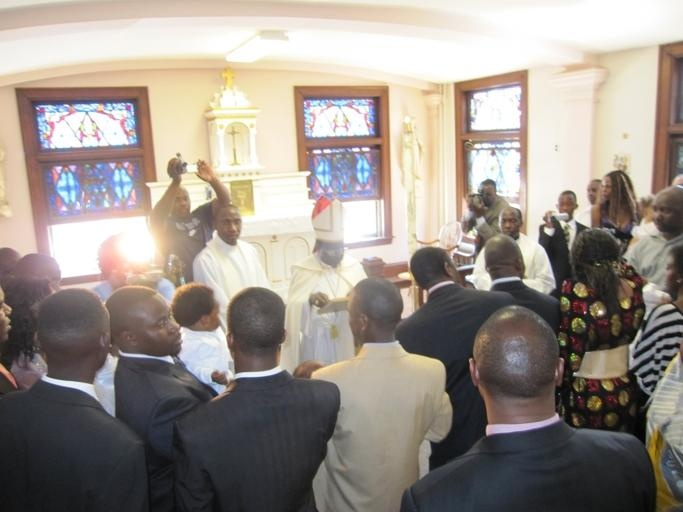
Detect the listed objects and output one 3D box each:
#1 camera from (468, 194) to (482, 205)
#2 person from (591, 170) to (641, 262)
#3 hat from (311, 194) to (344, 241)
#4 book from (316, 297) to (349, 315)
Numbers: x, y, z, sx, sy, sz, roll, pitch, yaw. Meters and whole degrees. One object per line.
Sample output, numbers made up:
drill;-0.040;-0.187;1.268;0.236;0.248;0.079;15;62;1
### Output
camera;1.373;-0.585;5.947;0.072;0.127;0.122;-8;0;12
person;2.143;-0.274;4.602;0.303;0.922;0.261;-26;29;-10
hat;-0.084;-0.255;3.960;0.207;0.284;0.275;-5;13;-26
book;-0.039;0.294;3.431;0.253;0.062;0.077;-21;0;38
